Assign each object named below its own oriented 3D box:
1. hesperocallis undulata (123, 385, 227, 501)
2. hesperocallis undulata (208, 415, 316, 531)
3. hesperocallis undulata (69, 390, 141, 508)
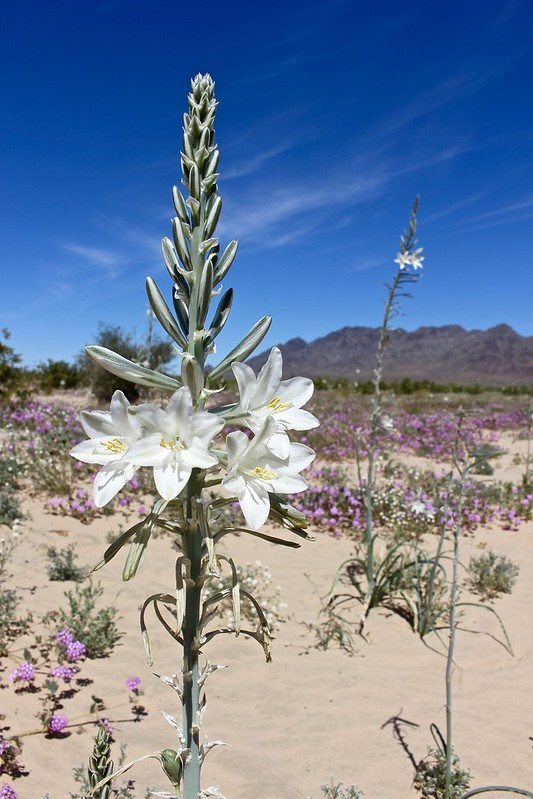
[{"bbox_3d":[-0.381,0.180,2.806,0.376,0.472,0.223,11,10,0],"label":"hesperocallis undulata"},{"bbox_3d":[-0.020,0.309,2.935,0.328,0.554,0.311,4,-3,-23],"label":"hesperocallis undulata"},{"bbox_3d":[-0.704,0.202,2.947,0.195,0.606,0.236,0,1,-11],"label":"hesperocallis undulata"}]
